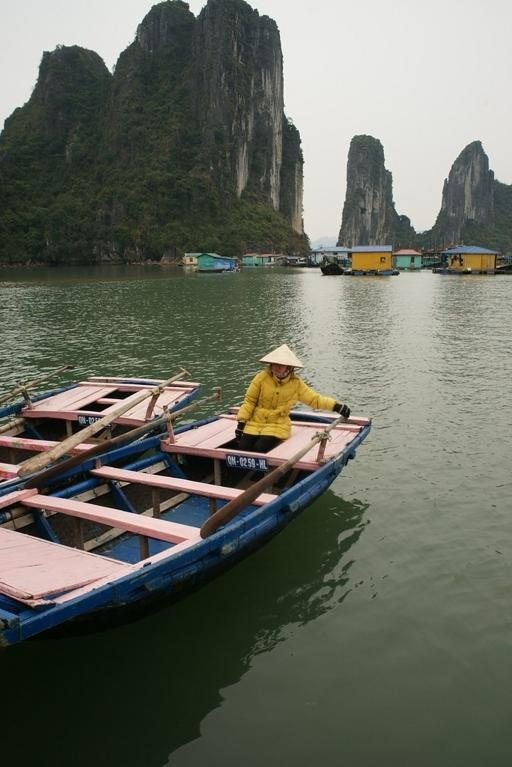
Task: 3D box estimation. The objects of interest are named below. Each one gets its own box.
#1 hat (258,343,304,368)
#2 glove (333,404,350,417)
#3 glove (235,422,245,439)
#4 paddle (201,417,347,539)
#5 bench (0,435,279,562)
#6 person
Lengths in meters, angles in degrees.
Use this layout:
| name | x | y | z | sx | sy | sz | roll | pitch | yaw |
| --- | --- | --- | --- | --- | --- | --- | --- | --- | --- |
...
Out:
| name | x | y | z | sx | sy | sz | roll | pitch | yaw |
| --- | --- | --- | --- | --- | --- | --- | --- | --- | --- |
| hat | 0.253 | -0.267 | 7.285 | 0.326 | 0.144 | 0.321 | 10 | 5 | -16 |
| glove | 0.832 | 0.279 | 7.054 | 0.164 | 0.102 | 0.109 | 29 | 35 | 27 |
| glove | -0.157 | 0.488 | 7.346 | 0.053 | 0.145 | 0.105 | 12 | 1 | 3 |
| paddle | 0.154 | 0.877 | 6.563 | 0.205 | 0.140 | 2.637 | 17 | 29 | 26 |
| bench | -1.083 | 0.846 | 6.069 | 1.071 | 0.295 | 1.792 | 13 | 13 | 33 |
| person | 0.475 | 0.162 | 9.285 | 1.226 | 1.460 | 0.696 | 15 | 0 | 9 |
